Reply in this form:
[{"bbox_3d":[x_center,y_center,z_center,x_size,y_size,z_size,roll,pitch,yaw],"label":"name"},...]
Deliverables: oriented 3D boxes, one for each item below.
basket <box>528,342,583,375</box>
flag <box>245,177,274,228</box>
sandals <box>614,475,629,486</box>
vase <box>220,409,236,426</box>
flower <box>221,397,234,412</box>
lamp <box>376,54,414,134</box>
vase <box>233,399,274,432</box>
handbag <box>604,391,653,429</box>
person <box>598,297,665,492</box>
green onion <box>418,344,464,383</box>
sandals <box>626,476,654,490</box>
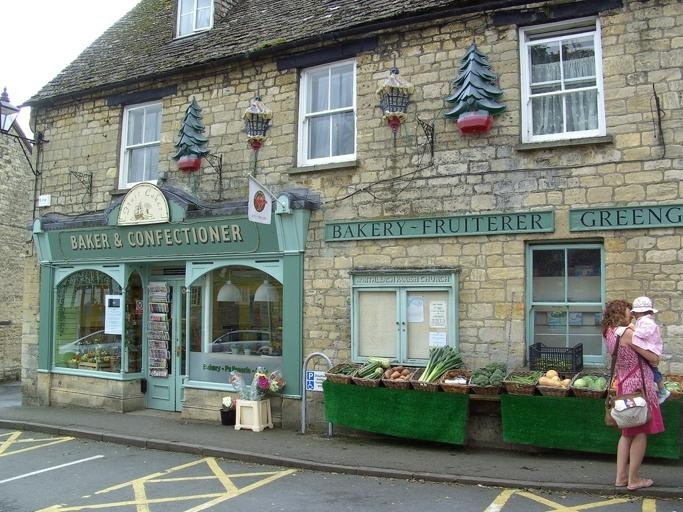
[{"bbox_3d":[3.327,1.623,11.373,0.767,0.455,0.581,1,0,25],"label":"basket"},{"bbox_3d":[-1.425,-0.972,12.538,0.217,0.823,0.777,-1,6,18],"label":"flag"},{"bbox_3d":[3.793,3.091,9.885,0.223,0.084,0.074,-1,1,-29],"label":"sandals"},{"bbox_3d":[-2.108,2.954,13.380,0.398,0.265,0.309,0,1,-31],"label":"vase"},{"bbox_3d":[-2.111,2.752,13.415,0.257,0.211,0.241,8,-9,-35],"label":"flower"},{"bbox_3d":[0.871,-2.798,12.669,0.572,1.160,0.503,0,1,30],"label":"lamp"},{"bbox_3d":[-1.617,2.912,13.195,0.605,0.432,0.638,-5,-7,34],"label":"vase"},{"bbox_3d":[3.830,2.065,9.839,0.579,0.449,0.533,4,0,13],"label":"handbag"},{"bbox_3d":[3.902,1.859,9.961,0.770,2.523,0.945,-3,-8,29],"label":"person"},{"bbox_3d":[1.550,1.775,11.791,0.466,0.270,0.729,25,42,37],"label":"green onion"},{"bbox_3d":[4.019,3.070,9.783,0.313,0.094,0.152,-5,-2,-30],"label":"sandals"}]
